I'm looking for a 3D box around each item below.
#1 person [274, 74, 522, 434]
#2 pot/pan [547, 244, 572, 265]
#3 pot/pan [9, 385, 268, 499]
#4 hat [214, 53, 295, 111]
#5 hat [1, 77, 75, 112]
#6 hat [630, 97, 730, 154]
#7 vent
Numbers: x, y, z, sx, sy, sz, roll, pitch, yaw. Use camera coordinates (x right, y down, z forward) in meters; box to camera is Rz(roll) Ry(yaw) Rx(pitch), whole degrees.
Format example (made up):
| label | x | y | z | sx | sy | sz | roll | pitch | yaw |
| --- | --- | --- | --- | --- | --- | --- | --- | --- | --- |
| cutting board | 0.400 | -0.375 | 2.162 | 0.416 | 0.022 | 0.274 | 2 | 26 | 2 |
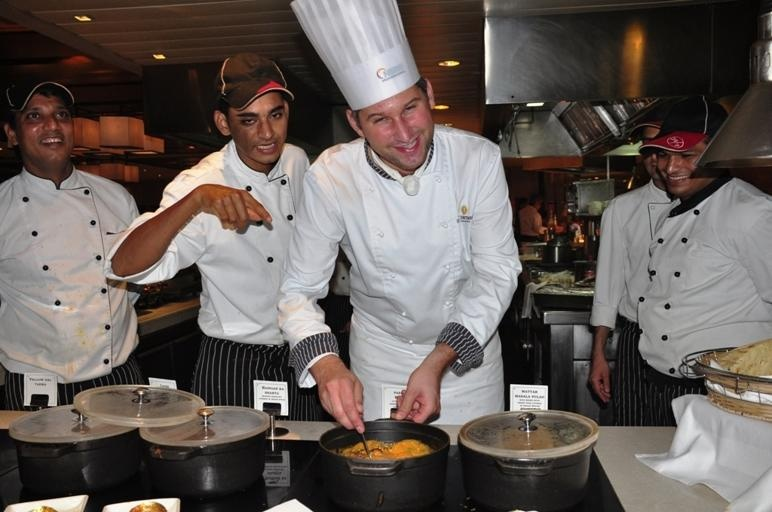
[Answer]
| label | x | y | z | sx | sy | sz | roll | pitch | yaw |
| --- | --- | --- | --- | --- | --- | --- | --- | --- | --- |
| person | 0.039 | 0.114 | 2.193 | 0.903 | 1.221 | 0.732 | -4 | 5 | 13 |
| pot/pan | 1.607 | -0.011 | 5.404 | 0.201 | 0.128 | 0.201 | 1 | 0 | 36 |
| pot/pan | -0.799 | 0.598 | 1.842 | 0.628 | 0.177 | 0.390 | 1 | 5 | -14 |
| hat | -0.548 | -0.752 | 2.600 | 0.235 | 0.147 | 0.332 | 20 | 25 | 0 |
| hat | -1.613 | -0.741 | 2.681 | 0.273 | 0.169 | 0.187 | -6 | 4 | -27 |
| hat | 1.469 | -0.643 | 2.858 | 0.450 | 0.199 | 0.260 | -11 | 10 | -22 |
| vent | 1.473 | -1.276 | 4.854 | 1.183 | 0.258 | 1.190 | 0 | -10 | 2 |
